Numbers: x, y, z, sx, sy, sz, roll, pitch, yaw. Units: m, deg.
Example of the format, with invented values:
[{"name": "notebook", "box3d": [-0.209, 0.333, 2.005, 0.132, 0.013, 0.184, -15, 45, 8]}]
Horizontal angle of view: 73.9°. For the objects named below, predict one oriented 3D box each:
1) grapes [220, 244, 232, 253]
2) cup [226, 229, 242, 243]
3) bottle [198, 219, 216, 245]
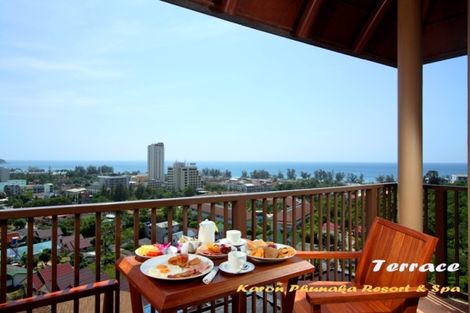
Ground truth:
[{"name": "grapes", "box3d": [-0.074, 0.792, 2.687, 0.073, 0.030, 0.075, 25, 25, 26]}, {"name": "cup", "box3d": [-0.007, 0.731, 2.884, 0.122, 0.091, 0.104, -2, -1, 23]}, {"name": "bottle", "box3d": [-0.255, 0.697, 2.843, 0.147, 0.210, 0.207, -2, -9, 20]}]
